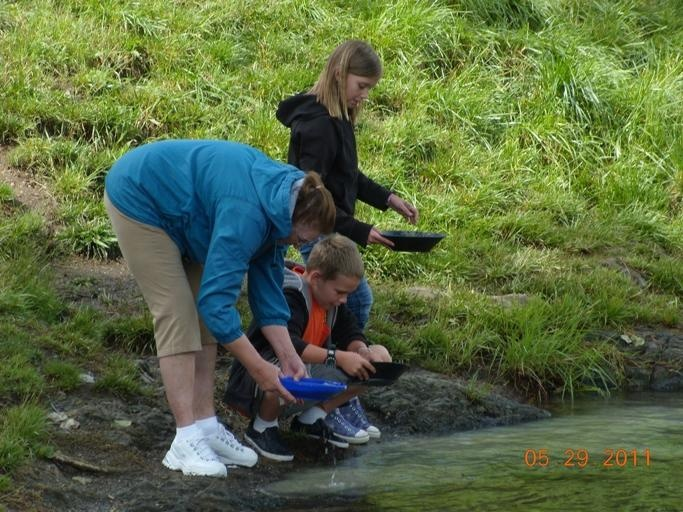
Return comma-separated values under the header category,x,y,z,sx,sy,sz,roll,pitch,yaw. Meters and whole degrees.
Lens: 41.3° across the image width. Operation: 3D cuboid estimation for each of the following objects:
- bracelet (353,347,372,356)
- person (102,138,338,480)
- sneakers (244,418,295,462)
category,x,y,z,sx,sy,sz,roll,pitch,yaw
bracelet,0.159,0.731,7.119,0.080,0.055,0.102,29,-5,-36
person,-0.892,0.388,6.378,1.500,2.407,0.599,-1,7,-5
sneakers,-0.541,1.409,6.993,0.434,0.212,0.197,32,13,10
